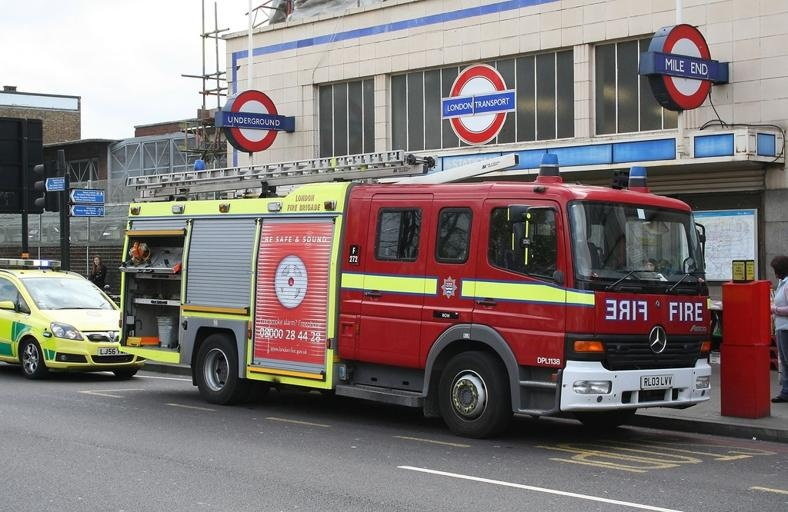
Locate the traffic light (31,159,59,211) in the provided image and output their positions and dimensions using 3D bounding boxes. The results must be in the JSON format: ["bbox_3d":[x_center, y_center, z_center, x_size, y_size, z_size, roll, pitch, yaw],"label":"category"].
[{"bbox_3d":[-9.595,-1.964,25.326,0.686,1.383,2.421,1,-1,-21],"label":"traffic light"}]

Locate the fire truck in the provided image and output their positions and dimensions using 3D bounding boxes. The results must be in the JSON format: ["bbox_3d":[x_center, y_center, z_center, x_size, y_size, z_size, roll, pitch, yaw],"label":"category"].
[{"bbox_3d":[-0.130,0.798,16.491,10.758,4.063,3.112,0,-2,33],"label":"fire truck"}]

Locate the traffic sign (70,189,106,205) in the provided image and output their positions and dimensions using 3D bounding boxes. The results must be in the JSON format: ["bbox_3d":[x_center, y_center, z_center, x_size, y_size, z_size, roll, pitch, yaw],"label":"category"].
[{"bbox_3d":[-8.061,-1.568,24.200,0.828,0.425,0.465,1,-2,-28],"label":"traffic sign"}]
